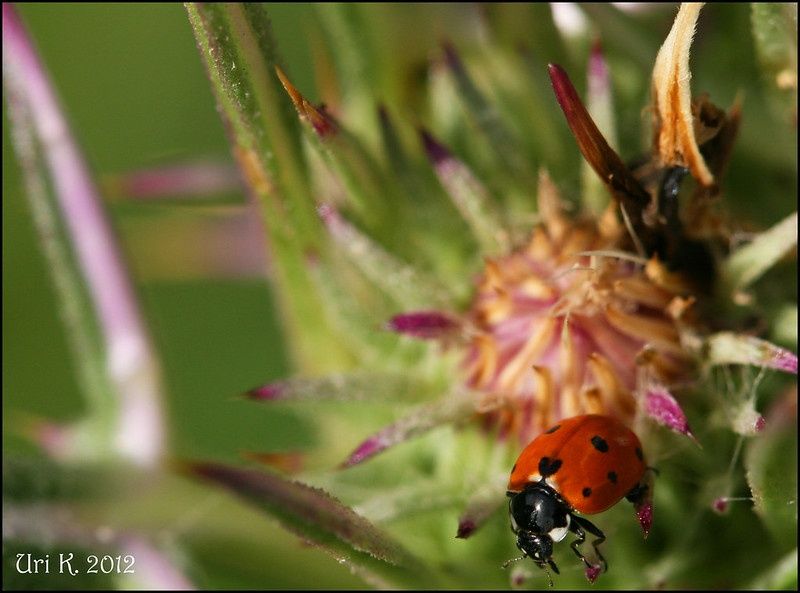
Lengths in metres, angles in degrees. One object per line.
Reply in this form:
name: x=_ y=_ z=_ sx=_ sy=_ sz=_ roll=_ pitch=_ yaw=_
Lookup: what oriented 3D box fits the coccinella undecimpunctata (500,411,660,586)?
coccinella undecimpunctata: x=0.221 y=0.223 z=1.048 sx=0.153 sy=0.106 sz=0.191 roll=26 pitch=86 yaw=42
